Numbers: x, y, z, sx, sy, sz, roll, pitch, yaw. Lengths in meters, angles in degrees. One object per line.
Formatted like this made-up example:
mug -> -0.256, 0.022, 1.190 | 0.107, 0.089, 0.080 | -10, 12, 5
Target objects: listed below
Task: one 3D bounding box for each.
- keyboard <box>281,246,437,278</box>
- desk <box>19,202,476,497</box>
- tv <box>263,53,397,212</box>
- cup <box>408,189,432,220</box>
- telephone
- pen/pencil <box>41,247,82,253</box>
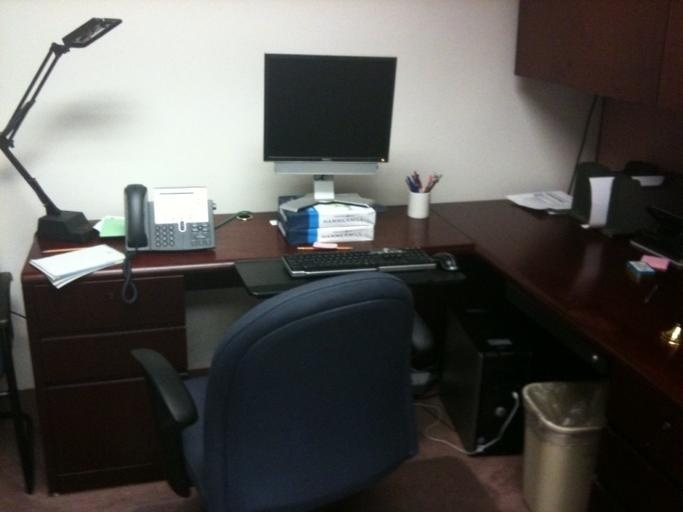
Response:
keyboard -> 0.075, 0.024, 2.063 | 0.574, 0.079, 0.177 | -6, 22, -8
desk -> -0.296, 0.370, 2.497 | 1.798, 0.974, 0.590 | -1, 21, -17
tv -> -0.067, -0.521, 2.281 | 0.641, 0.792, 0.243 | -1, 19, -9
cup -> 0.345, -0.236, 2.465 | 0.108, 0.121, 0.106 | 1, 20, 0
telephone -> -0.657, -0.154, 2.135 | 0.333, 0.226, 0.219 | -7, 20, -28
pen/pencil -> -1.046, -0.023, 2.088 | 0.193, 0.015, 0.016 | -2, 4, -29
